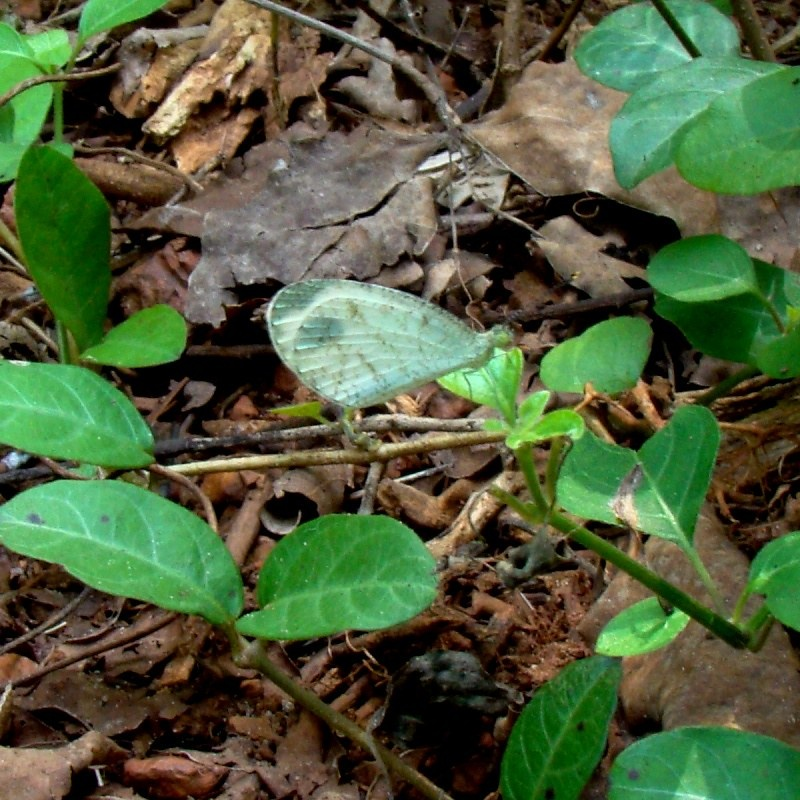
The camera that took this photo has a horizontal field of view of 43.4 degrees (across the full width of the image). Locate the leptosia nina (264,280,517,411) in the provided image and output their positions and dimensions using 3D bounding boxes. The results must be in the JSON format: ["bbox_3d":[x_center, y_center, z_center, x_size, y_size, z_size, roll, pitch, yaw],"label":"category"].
[{"bbox_3d":[-0.018,-0.141,2.342,0.479,0.406,0.131,9,95,-22],"label":"leptosia nina"}]
